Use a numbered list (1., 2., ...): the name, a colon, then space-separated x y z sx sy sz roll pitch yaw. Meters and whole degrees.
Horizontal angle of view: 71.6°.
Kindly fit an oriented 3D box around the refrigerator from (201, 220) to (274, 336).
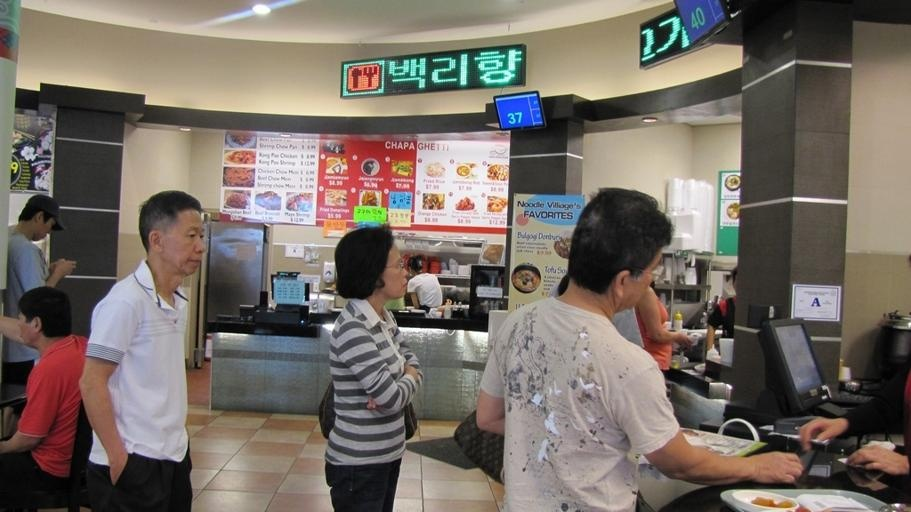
1. refrigerator: -3.596 0.374 10.315 0.986 1.836 0.560 0 10 -19

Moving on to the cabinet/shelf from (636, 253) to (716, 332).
1. cabinet/shelf: 3.662 0.425 10.058 0.732 0.830 0.490 3 -7 22

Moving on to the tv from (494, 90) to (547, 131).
1. tv: 0.923 -2.028 8.861 0.818 0.530 0.084 5 27 42

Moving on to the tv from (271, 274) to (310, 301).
1. tv: -2.206 0.413 8.455 0.665 0.335 0.445 3 -1 -23
